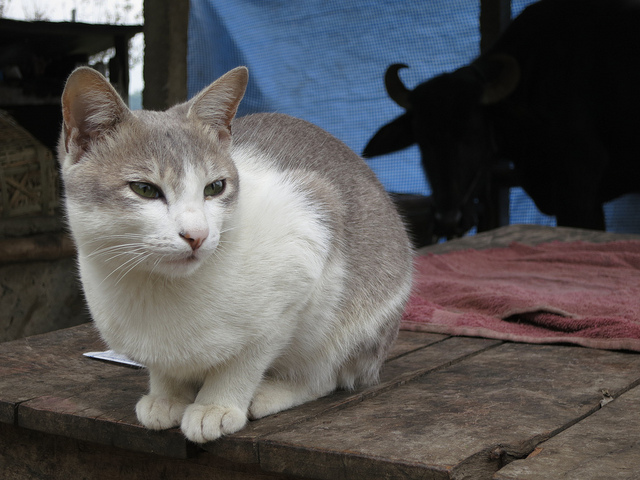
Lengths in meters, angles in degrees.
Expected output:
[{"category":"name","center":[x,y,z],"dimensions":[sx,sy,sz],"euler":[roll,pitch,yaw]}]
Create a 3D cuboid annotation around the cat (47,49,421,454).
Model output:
[{"category":"cat","center":[-0.267,-0.022,2.664],"dimensions":[0.856,1.139,1.344],"euler":[7,16,27]}]
